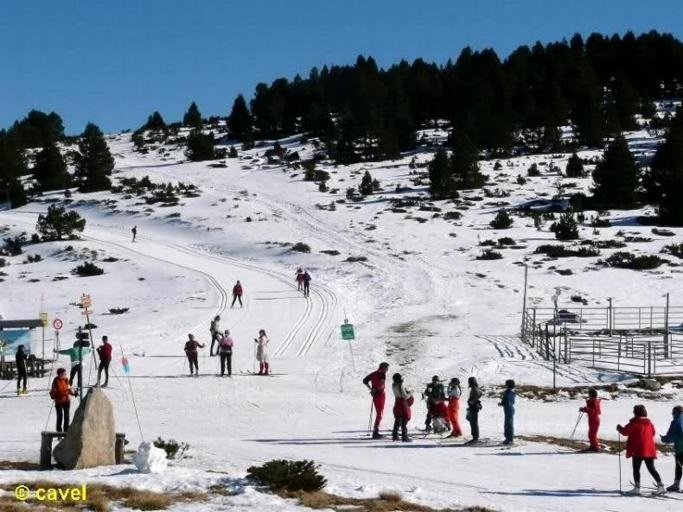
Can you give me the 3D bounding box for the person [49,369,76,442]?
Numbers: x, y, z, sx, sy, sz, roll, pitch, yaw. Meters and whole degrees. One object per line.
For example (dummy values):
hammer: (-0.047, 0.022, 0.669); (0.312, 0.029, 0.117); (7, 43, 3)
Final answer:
person: (-16.115, 8.497, 81.720); (1.006, 4.118, 1.414); (-1, -1, 43)
